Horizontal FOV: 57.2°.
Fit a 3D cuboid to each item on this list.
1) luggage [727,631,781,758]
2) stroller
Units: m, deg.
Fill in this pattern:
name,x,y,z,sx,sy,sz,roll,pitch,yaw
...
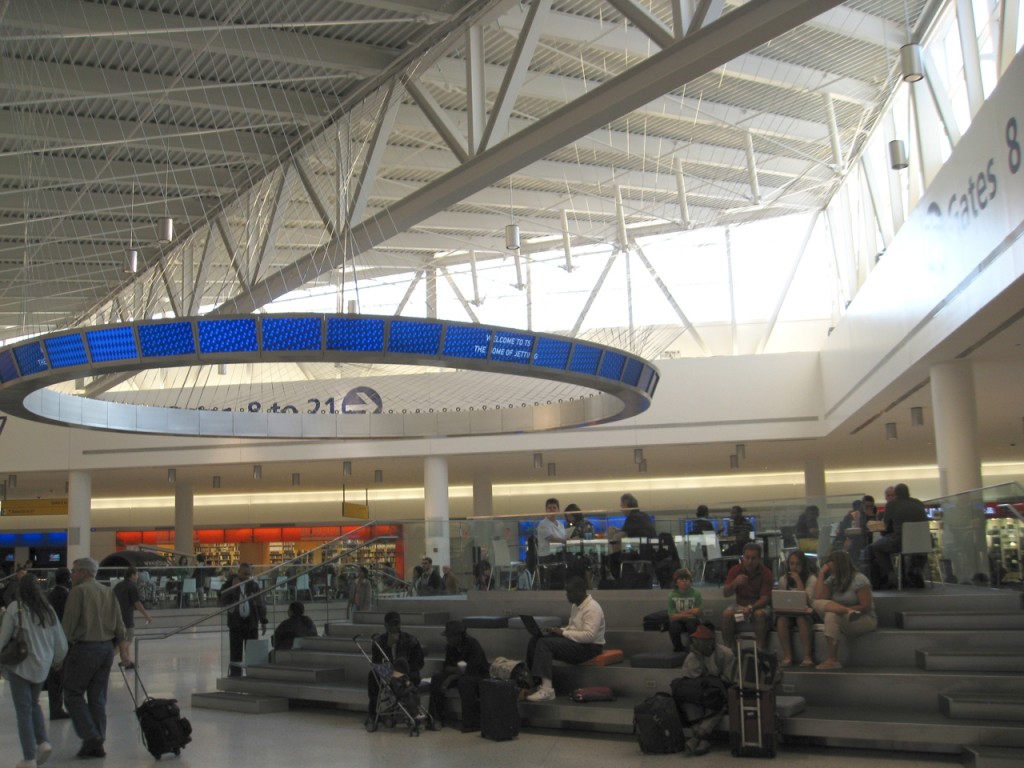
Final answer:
name,x,y,z,sx,sy,sz,roll,pitch,yaw
luggage,3.101,3.956,12.074,0.575,1.470,0.582,-5,-10,20
stroller,-1.693,4.443,13.978,0.903,1.357,0.952,12,-8,-40
